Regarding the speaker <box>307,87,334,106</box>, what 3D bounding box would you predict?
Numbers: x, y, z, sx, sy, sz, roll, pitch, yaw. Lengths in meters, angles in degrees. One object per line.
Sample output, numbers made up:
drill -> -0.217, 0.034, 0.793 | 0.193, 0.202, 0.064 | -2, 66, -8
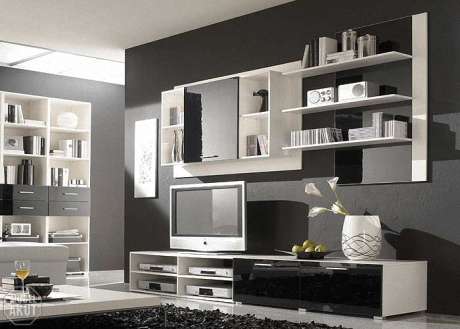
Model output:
speaker -> 0.953, -0.705, 4.474 | 0.319, 0.189, 0.090 | -6, -8, 40

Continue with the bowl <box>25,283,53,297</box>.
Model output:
bowl -> -1.128, 0.744, 2.500 | 0.135, 0.088, 0.170 | 3, -7, -25

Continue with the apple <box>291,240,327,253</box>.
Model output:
apple -> 0.798, 0.839, 4.231 | 0.214, 0.079, 0.213 | 1, -8, -12

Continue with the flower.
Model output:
flower -> 1.006, 0.350, 4.491 | 0.532, 0.431, 0.411 | -3, -7, 25

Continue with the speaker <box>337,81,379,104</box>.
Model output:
speaker -> 1.284, -0.723, 4.223 | 0.392, 0.193, 0.133 | -3, -7, 21

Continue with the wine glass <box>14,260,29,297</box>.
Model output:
wine glass -> -1.245, 0.664, 2.531 | 0.078, 0.191, 0.275 | 3, -7, -26

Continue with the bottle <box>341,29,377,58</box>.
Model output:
bottle -> 1.336, -1.230, 4.316 | 0.172, 0.229, 0.356 | -2, 5, -45

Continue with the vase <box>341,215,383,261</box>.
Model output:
vase -> 1.299, 0.737, 4.153 | 0.403, 0.424, 0.415 | 5, -9, -35
